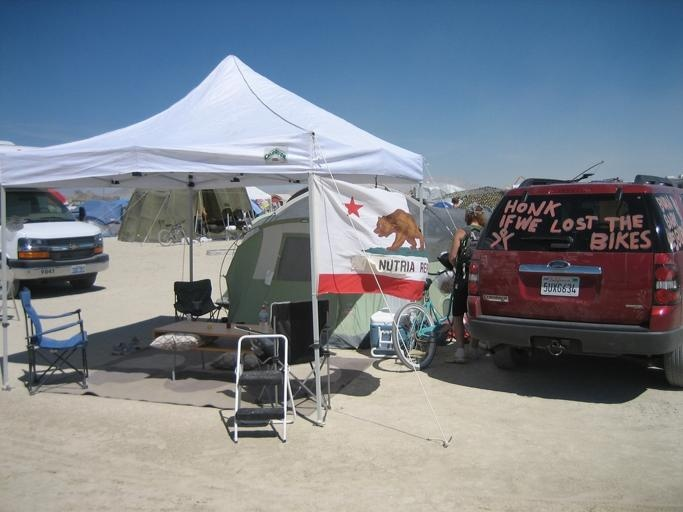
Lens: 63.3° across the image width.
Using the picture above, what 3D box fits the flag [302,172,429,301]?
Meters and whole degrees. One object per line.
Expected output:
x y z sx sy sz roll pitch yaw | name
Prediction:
0.369 -0.143 6.672 2.011 1.457 0.264 0 0 -42 | flag

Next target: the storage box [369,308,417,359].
0.806 1.142 8.508 0.658 0.570 0.628 -6 1 35 | storage box

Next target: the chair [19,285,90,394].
-3.771 1.074 7.291 1.100 1.189 1.076 2 1 26 | chair

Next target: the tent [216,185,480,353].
-0.423 0.248 9.319 3.283 2.120 3.189 -4 5 -39 | tent

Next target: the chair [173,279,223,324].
-2.440 0.862 9.310 0.742 0.745 0.780 2 24 3 | chair

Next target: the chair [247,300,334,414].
-0.617 1.210 6.795 0.999 1.264 0.894 -1 -7 -27 | chair

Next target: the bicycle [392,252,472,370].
1.403 0.891 8.537 1.058 1.451 2.410 -6 -7 34 | bicycle
